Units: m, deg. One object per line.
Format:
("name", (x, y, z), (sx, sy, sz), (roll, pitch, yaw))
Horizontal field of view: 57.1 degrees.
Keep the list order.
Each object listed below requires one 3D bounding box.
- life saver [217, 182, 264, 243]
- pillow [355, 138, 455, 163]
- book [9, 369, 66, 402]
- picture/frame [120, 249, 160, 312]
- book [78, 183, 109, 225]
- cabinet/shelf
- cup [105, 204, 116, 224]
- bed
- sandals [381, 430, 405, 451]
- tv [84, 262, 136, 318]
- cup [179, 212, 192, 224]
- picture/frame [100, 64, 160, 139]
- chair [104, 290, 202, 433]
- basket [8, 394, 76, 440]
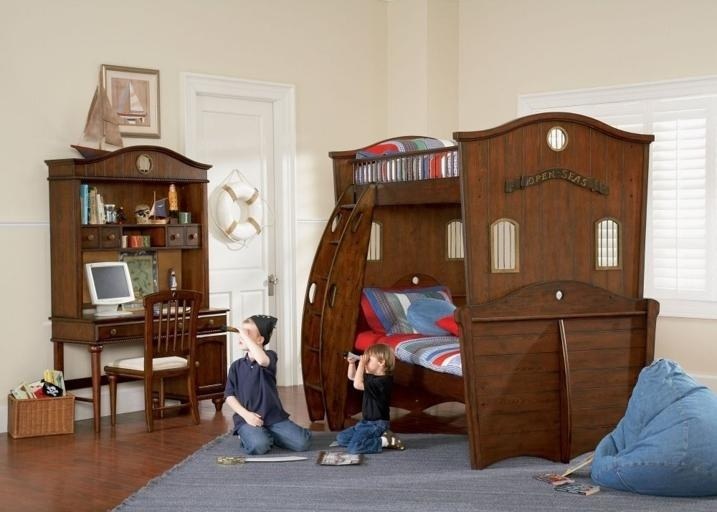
("life saver", (-1.180, -0.423, 6.287), (0.135, 0.524, 0.493), (-5, 11, 37))
("pillow", (0.354, -0.944, 5.705), (0.524, 0.186, 0.402), (-3, 3, -34))
("book", (-2.494, 0.993, 5.161), (0.261, 0.172, 0.260), (0, 1, -30))
("picture/frame", (-1.860, 0.206, 5.551), (0.472, 0.649, 0.035), (-6, 7, -44))
("book", (-2.126, -0.423, 5.341), (0.180, 0.238, 0.372), (-2, 2, 10))
("cabinet/shelf", (-1.796, 0.227, 5.550), (1.355, 2.191, 0.732), (-3, 2, -43))
("cup", (-2.033, -0.348, 5.395), (0.095, 0.145, 0.143), (0, -5, -6))
("bed", (0.884, 0.170, 5.404), (2.149, 2.510, 2.701), (-1, 0, -28))
("sandals", (0.227, 1.271, 4.559), (0.159, 0.098, 0.069), (8, 13, 21))
("tv", (-2.040, 0.273, 5.355), (0.212, 0.468, 0.403), (-7, -2, 42))
("cup", (-1.521, -0.336, 5.827), (0.099, 0.102, 0.101), (-1, -3, 0))
("picture/frame", (-1.988, -1.333, 5.657), (0.661, 0.783, 0.052), (-4, 6, -32))
("chair", (-1.678, 0.811, 5.389), (0.741, 1.066, 0.704), (0, -2, -32))
("basket", (-2.445, 1.133, 5.121), (0.485, 0.335, 0.300), (3, -7, -28))
